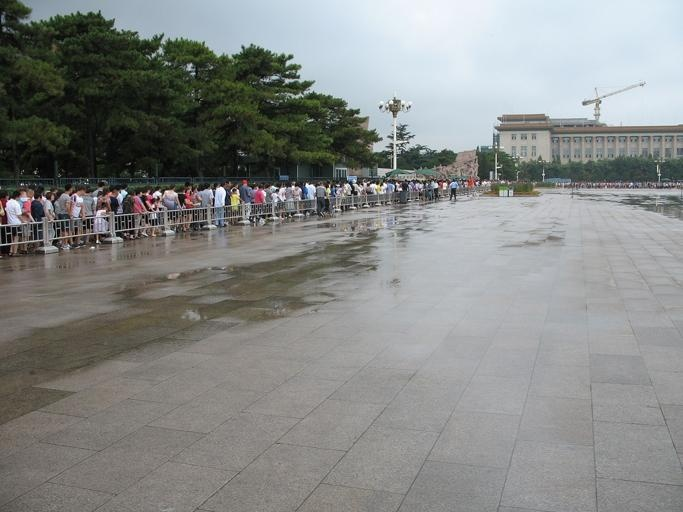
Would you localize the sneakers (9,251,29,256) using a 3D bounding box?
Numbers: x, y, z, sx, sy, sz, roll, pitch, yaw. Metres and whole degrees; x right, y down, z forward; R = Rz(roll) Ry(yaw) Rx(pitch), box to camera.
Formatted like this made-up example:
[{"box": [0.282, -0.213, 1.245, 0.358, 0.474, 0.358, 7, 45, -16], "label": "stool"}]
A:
[{"box": [-9.838, -0.038, 16.853, 0.574, 0.225, 0.197, -3, 5, -7], "label": "sneakers"}]
